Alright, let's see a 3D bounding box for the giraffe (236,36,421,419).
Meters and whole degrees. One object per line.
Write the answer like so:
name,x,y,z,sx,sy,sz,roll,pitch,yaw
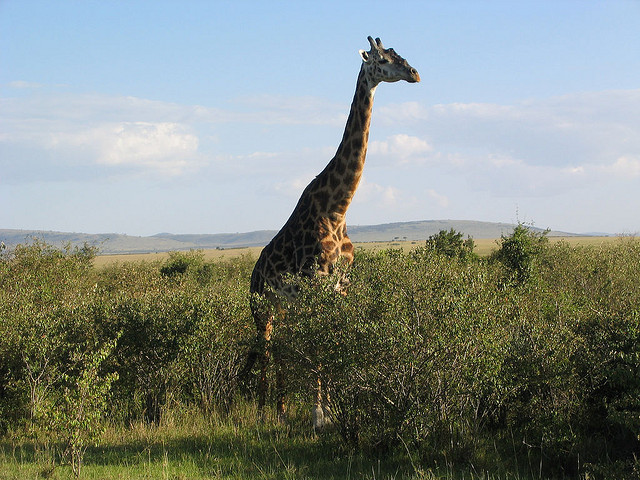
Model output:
giraffe,-0.054,-0.114,17.558,3.012,8.049,3.358,0,4,-6
